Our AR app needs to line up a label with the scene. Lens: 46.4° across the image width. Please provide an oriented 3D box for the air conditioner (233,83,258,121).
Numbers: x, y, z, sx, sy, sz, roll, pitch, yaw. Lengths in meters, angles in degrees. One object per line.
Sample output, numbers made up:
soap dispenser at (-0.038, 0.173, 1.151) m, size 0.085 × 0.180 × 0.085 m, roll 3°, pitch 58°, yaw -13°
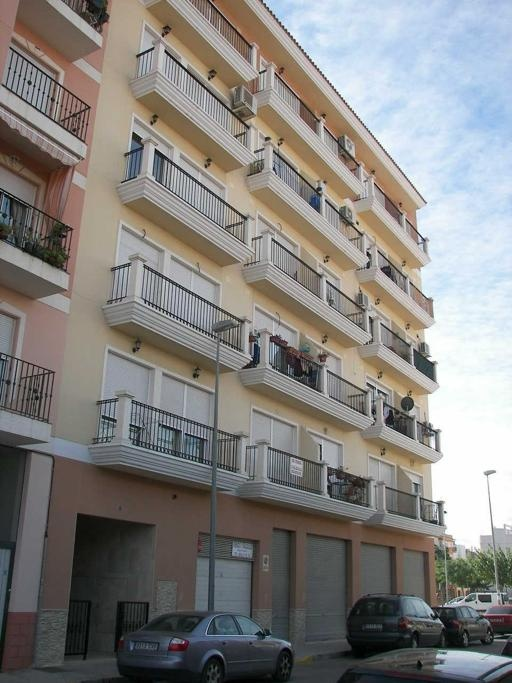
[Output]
air conditioner at (-0.448, -8.386, 21.020) m, size 0.571 × 0.956 × 0.964 m, roll -11°, pitch -24°, yaw 28°

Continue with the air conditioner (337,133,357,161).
air conditioner at (4.193, -9.198, 27.936) m, size 0.969 × 1.265 × 0.353 m, roll 15°, pitch -25°, yaw -31°

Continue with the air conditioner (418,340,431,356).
air conditioner at (8.301, 0.396, 29.635) m, size 0.315 × 0.571 × 0.612 m, roll -14°, pitch -28°, yaw 36°

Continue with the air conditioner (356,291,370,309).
air conditioner at (4.704, -1.823, 26.522) m, size 0.441 × 0.768 × 0.817 m, roll -8°, pitch -21°, yaw 27°
